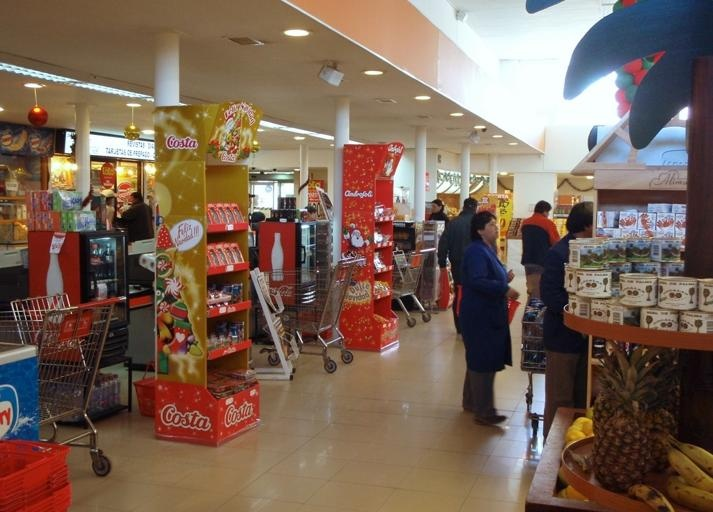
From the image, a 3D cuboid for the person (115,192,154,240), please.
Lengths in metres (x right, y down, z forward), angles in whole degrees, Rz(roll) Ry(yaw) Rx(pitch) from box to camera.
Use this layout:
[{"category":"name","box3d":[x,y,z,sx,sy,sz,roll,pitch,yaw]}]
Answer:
[{"category":"person","box3d":[-4.083,-0.750,9.882,0.597,0.897,0.729,-3,6,-34]}]

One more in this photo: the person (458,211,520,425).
[{"category":"person","box3d":[1.262,0.628,5.125,0.516,2.106,0.533,1,5,10]}]

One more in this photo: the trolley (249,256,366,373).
[{"category":"trolley","box3d":[-0.717,0.926,7.472,0.856,1.446,1.409,-6,-19,-11]}]

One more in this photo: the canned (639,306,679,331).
[{"category":"canned","box3d":[1.148,0.235,1.997,0.093,0.069,0.093,2,-1,-3]}]

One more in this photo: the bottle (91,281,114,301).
[{"category":"bottle","box3d":[-2.507,0.344,5.205,0.102,0.180,0.192,0,1,11]}]

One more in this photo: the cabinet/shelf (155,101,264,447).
[{"category":"cabinet/shelf","box3d":[-1.391,0.170,5.102,0.703,3.020,0.930,-2,-2,16]}]

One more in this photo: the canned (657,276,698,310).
[{"category":"canned","box3d":[1.231,0.140,2.036,0.123,0.094,0.124,1,0,8]}]

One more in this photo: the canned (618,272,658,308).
[{"category":"canned","box3d":[1.118,0.135,2.111,0.128,0.097,0.128,1,0,3]}]

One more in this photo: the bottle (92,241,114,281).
[{"category":"bottle","box3d":[-2.519,0.038,5.263,0.051,0.392,0.298,2,5,13]}]

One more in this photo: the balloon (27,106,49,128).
[{"category":"balloon","box3d":[-5.046,-2.246,8.360,0.222,0.325,0.592,-2,6,-32]}]

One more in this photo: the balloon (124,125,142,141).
[{"category":"balloon","box3d":[-4.235,-2.373,9.983,0.212,0.263,0.419,-2,6,-27]}]

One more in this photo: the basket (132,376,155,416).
[{"category":"basket","box3d":[-2.199,1.465,5.502,0.193,0.328,0.400,-1,6,-23]}]
